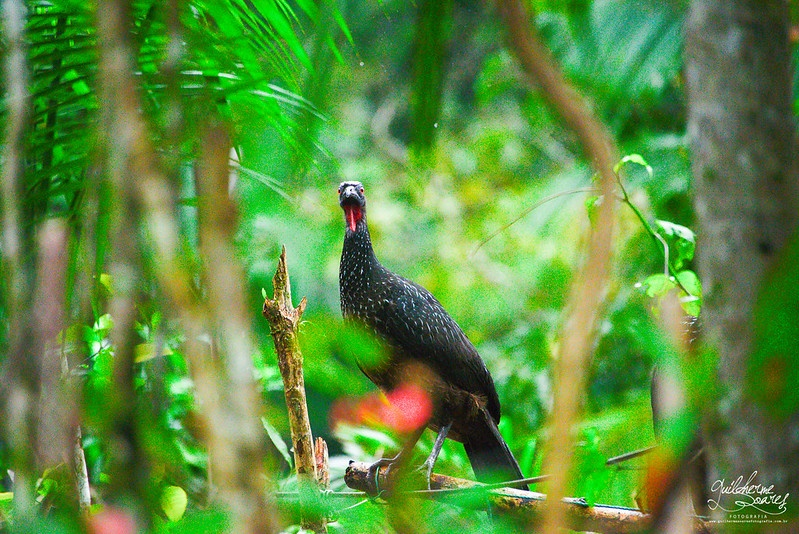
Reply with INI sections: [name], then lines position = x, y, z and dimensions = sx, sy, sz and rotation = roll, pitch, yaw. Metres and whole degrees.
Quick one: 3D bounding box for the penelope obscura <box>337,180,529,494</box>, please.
[penelope obscura]
position = 0.063, 0.147, 2.403
dimensions = 0.390, 0.664, 0.362
rotation = -2, 5, -7
